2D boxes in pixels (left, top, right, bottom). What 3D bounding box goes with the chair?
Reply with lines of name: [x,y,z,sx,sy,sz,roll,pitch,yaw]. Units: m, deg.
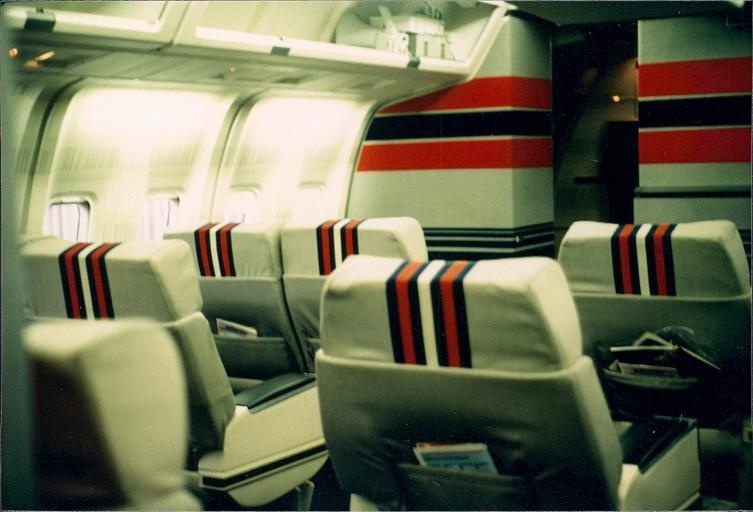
chair: [0.160,0.450,2.430,2.295,1.104,0.693,0,5,17]

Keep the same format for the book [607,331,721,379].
book: [1.108,0.350,2.524,0.275,0.201,0.081,4,47,24]

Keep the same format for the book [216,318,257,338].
book: [-0.641,0.336,3.023,0.139,0.089,0.032,8,19,-20]

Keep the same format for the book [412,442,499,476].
book: [0.266,0.677,2.218,0.245,0.128,0.055,-3,24,13]
